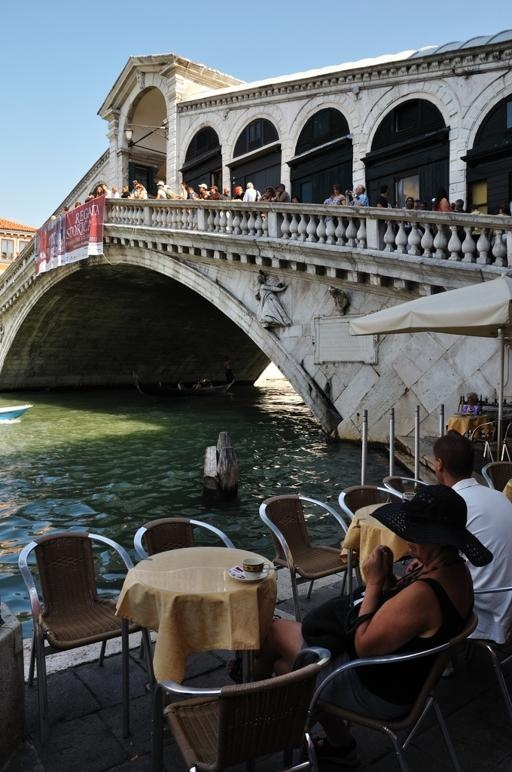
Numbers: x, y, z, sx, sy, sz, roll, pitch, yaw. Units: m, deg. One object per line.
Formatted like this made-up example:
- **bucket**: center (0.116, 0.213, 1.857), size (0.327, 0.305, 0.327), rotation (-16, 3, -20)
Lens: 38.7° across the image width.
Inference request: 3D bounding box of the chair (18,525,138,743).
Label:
- **chair**: center (-0.868, 1.239, 3.669), size (0.654, 0.860, 0.665), rotation (1, 6, 16)

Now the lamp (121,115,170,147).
- **lamp**: center (-4.691, -10.750, 31.146), size (1.446, 1.275, 2.750), rotation (-2, 0, 8)

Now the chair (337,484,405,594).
- **chair**: center (0.702, 0.885, 4.524), size (0.477, 0.570, 0.454), rotation (-4, -18, -9)

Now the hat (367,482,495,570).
- **hat**: center (0.629, 0.503, 2.676), size (0.348, 0.295, 0.319), rotation (-2, 0, 42)

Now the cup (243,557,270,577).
- **cup**: center (0.004, 0.771, 3.104), size (0.078, 0.059, 0.064), rotation (0, 2, -2)

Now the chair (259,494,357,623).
- **chair**: center (0.350, 1.135, 4.818), size (0.578, 0.705, 0.571), rotation (-3, 5, -3)
